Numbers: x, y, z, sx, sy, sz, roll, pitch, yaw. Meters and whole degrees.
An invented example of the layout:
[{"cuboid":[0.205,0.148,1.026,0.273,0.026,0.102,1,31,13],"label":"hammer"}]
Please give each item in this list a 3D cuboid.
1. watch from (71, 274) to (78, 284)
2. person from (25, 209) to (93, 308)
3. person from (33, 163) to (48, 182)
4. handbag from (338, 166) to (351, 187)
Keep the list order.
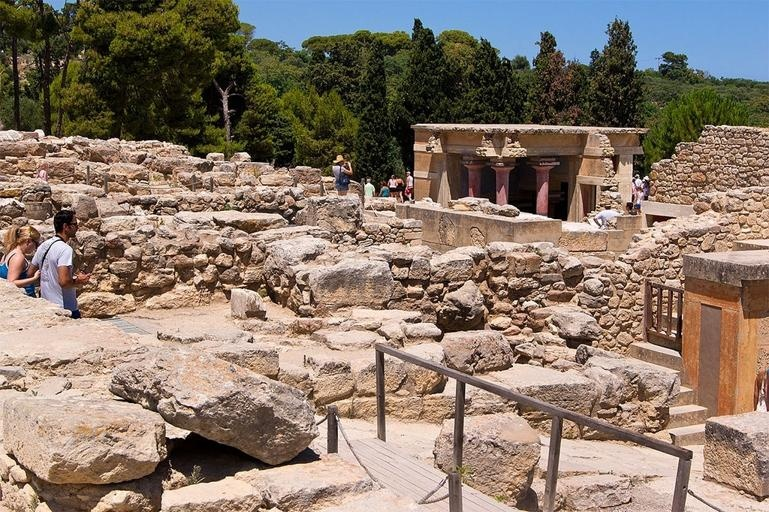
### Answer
[{"cuboid":[-3.548,0.268,8.867,0.081,0.100,0.040,6,-24,-23],"label":"watch"},{"cuboid":[-3.733,0.112,8.890,0.728,1.244,0.439,3,8,32],"label":"person"},{"cuboid":[-7.108,-1.689,16.014,0.242,0.305,0.775,-11,16,-13],"label":"person"},{"cuboid":[-1.010,-1.906,19.278,0.282,0.486,0.308,-4,8,-23],"label":"handbag"}]
